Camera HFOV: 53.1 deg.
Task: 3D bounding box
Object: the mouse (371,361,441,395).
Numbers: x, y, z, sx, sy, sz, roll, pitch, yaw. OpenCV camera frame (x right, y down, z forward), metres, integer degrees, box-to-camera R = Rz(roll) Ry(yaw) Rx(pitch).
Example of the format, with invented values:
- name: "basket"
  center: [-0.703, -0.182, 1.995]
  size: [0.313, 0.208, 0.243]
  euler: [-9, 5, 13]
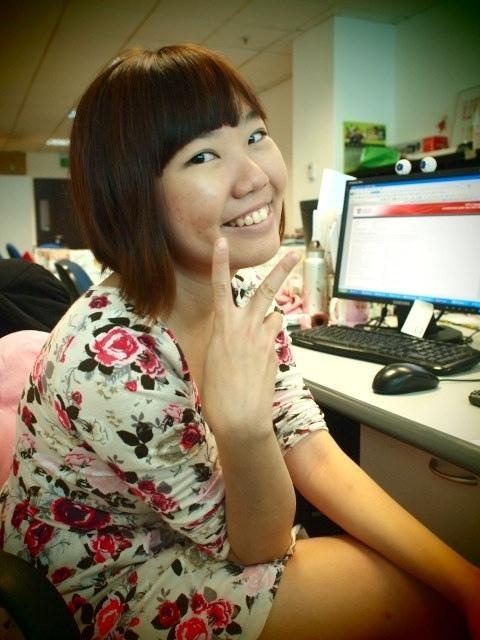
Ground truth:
- name: "mouse"
  center: [0.287, 0.095, 0.850]
  size: [0.100, 0.034, 0.053]
  euler: [-6, 9, -19]
